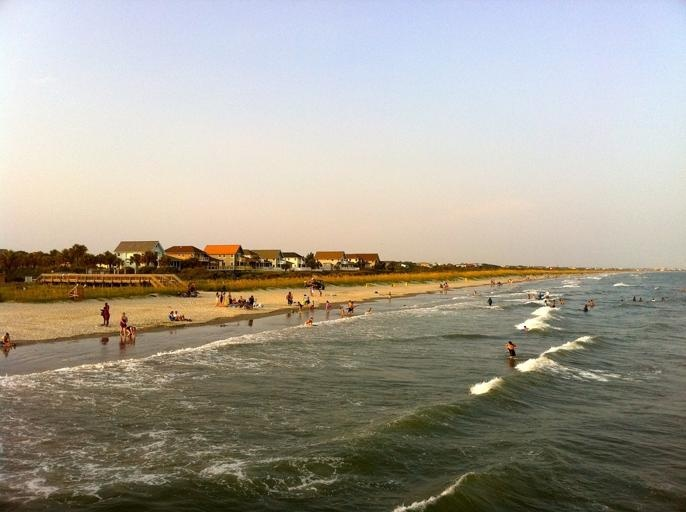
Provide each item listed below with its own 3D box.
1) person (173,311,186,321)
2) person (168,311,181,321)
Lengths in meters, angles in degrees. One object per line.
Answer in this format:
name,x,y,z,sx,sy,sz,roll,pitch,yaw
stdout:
person,-11.259,4.200,38.728,0.800,0.309,0.890,0,1,-4
person,-11.691,4.218,38.402,0.905,0.353,0.741,17,9,34
